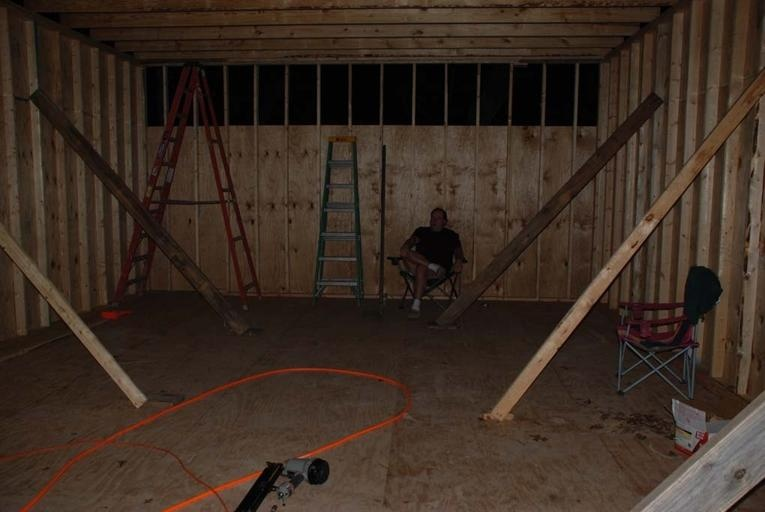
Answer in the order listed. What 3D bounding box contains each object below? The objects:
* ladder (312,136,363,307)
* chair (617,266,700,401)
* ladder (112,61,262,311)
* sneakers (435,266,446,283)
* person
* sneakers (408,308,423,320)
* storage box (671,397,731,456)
[{"bbox_3d":[-0.543,-0.488,9.133,0.736,2.271,0.894,2,13,-7],"label":"ladder"},{"bbox_3d":[2.651,0.728,6.314,0.809,1.106,0.815,2,8,2],"label":"chair"},{"bbox_3d":[-2.591,-0.953,9.003,1.836,3.139,1.616,1,13,-12],"label":"ladder"},{"bbox_3d":[0.742,0.215,8.415,0.109,0.161,0.151,-4,-23,38],"label":"sneakers"},{"bbox_3d":[0.635,0.021,8.717,0.770,1.249,0.938,0,13,-16],"label":"person"},{"bbox_3d":[0.402,0.705,8.379,0.152,0.102,0.242,5,13,2],"label":"sneakers"},{"bbox_3d":[2.568,1.321,5.437,0.277,0.457,0.379,18,34,36],"label":"storage box"}]
